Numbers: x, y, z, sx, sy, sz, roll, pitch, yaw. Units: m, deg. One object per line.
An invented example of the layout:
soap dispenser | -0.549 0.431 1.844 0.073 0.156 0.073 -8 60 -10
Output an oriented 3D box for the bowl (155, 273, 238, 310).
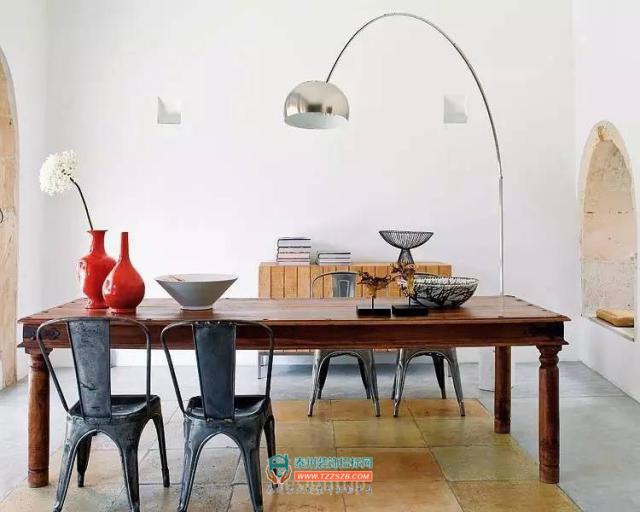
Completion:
bowl | -0.796 0.221 3.902 0.312 0.125 0.326 -2 -2 0

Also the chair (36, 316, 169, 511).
chair | -1.280 0.892 3.590 0.720 1.133 0.470 -1 10 -5

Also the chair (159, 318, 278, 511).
chair | -0.588 0.900 3.592 0.661 1.122 0.484 -1 10 -5
